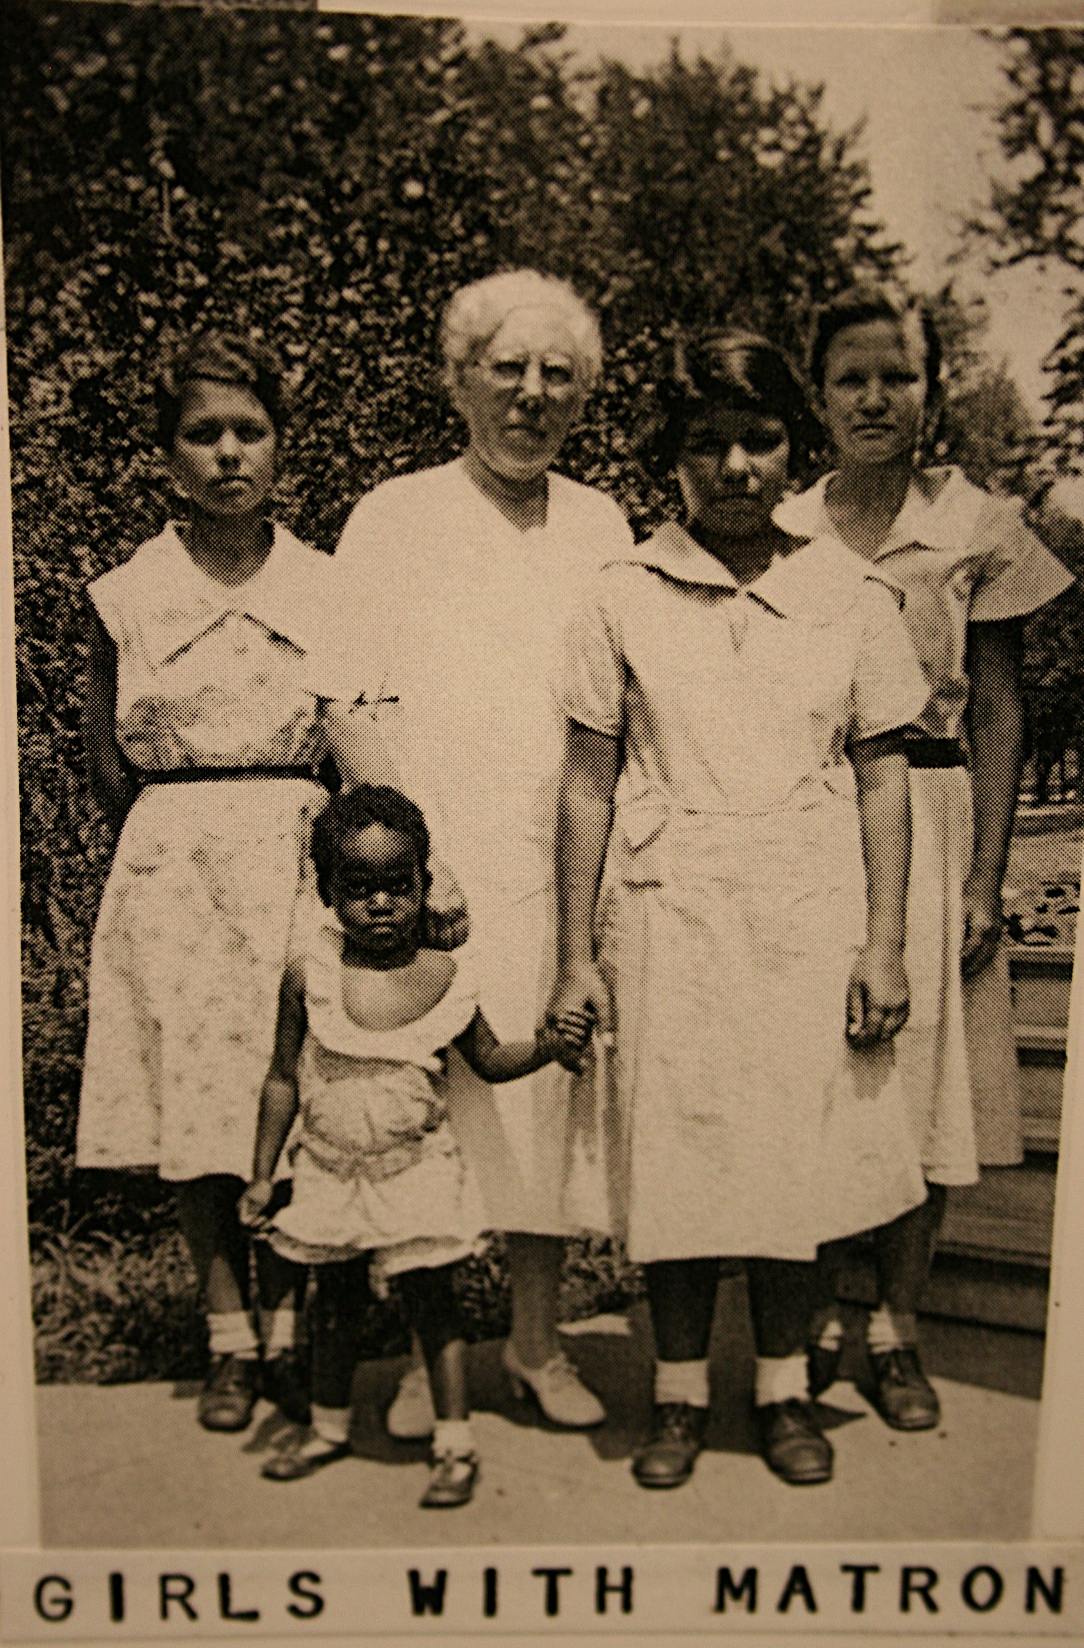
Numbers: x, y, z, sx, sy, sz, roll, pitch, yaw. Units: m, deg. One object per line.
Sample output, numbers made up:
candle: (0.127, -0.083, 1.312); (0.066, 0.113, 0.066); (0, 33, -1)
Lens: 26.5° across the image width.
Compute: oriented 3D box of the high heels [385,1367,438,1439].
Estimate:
high heels: (-0.281, 1.237, 4.904); (0.097, 0.150, 0.062); (0, -1, 13)

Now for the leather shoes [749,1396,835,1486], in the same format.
leather shoes: (0.535, 1.322, 4.926); (0.125, 0.084, 0.227); (-7, 28, -13)

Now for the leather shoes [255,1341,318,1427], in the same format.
leather shoes: (-0.539, 1.202, 4.944); (0.116, 0.167, 0.074); (-24, -6, 15)

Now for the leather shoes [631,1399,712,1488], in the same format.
leather shoes: (0.278, 1.325, 4.918); (0.103, 0.083, 0.238); (3, 8, 19)

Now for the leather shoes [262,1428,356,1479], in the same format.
leather shoes: (-0.495, 1.343, 4.932); (0.194, 0.060, 0.096); (-8, 15, -20)

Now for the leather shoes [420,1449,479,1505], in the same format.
leather shoes: (-0.178, 1.382, 4.877); (0.095, 0.094, 0.127); (3, 35, 10)

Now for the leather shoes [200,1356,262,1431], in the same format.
leather shoes: (-0.670, 1.225, 4.991); (0.092, 0.186, 0.087); (-1, -17, 4)

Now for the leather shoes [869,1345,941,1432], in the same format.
leather shoes: (0.770, 1.228, 5.026); (0.112, 0.083, 0.230); (-7, 19, -13)
